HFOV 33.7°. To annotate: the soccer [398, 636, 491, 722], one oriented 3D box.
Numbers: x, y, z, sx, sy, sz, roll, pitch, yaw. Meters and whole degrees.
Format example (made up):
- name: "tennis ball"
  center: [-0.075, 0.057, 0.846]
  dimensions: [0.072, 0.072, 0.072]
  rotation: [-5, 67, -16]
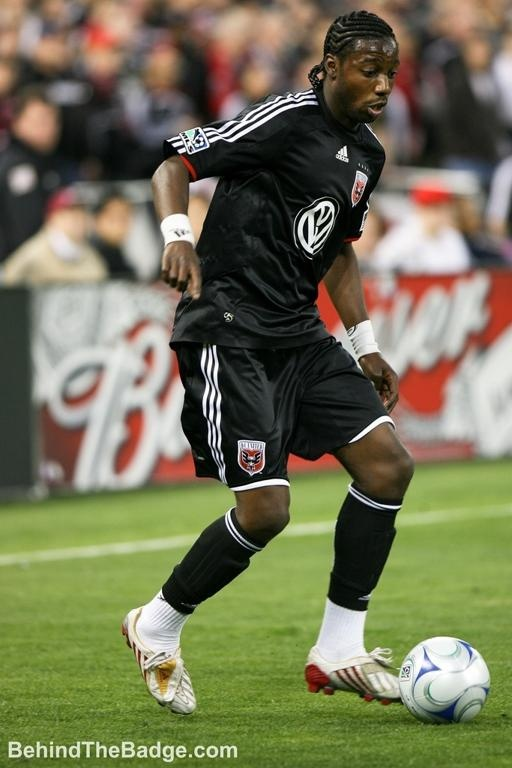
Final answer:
- name: "soccer"
  center: [0.447, 0.721, 2.036]
  dimensions: [0.159, 0.175, 0.187]
  rotation: [-6, 32, -40]
